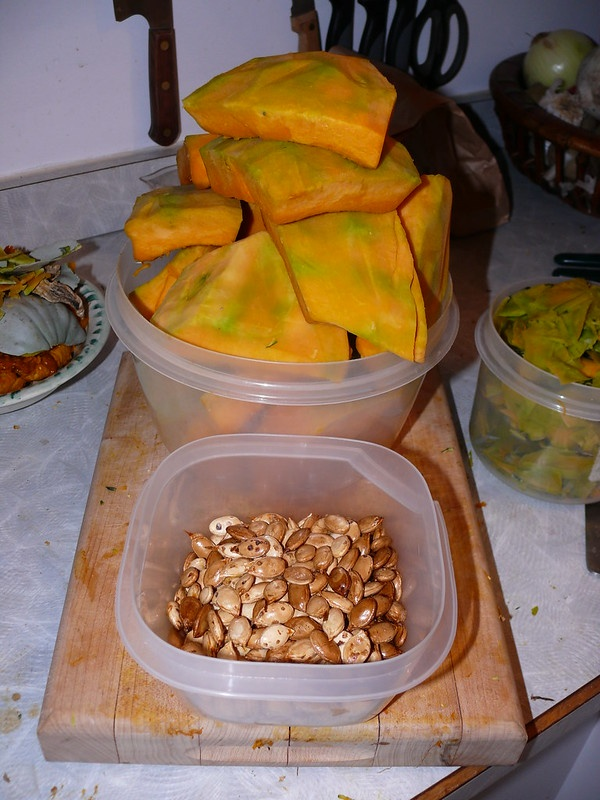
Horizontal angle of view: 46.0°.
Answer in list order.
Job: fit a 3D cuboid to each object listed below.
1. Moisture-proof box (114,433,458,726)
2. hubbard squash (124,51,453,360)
[{"bbox_3d":[-0.008,0.127,0.496,0.213,0.117,0.197,0,40,-1],"label":"Moisture-proof box"},{"bbox_3d":[-0.017,-0.131,0.528,0.260,0.216,0.208,9,42,9],"label":"hubbard squash"}]
